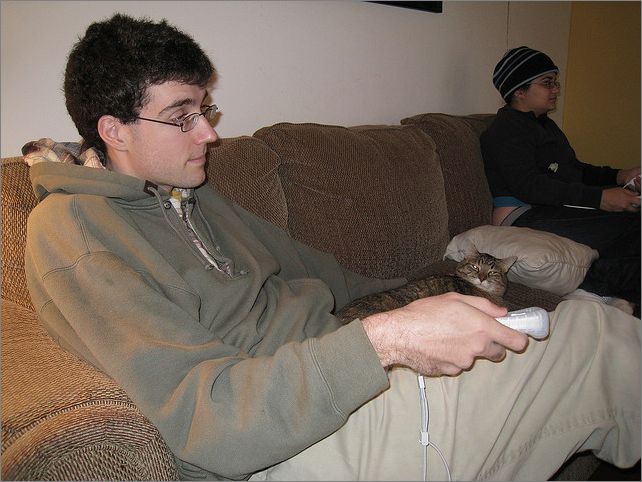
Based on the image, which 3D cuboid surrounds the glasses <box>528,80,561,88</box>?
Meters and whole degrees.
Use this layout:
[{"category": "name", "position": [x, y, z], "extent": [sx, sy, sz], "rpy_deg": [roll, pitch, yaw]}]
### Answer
[{"category": "glasses", "position": [1.168, -0.813, 2.578], "extent": [0.074, 0.027, 0.086], "rpy_deg": [-4, 9, -20]}]
